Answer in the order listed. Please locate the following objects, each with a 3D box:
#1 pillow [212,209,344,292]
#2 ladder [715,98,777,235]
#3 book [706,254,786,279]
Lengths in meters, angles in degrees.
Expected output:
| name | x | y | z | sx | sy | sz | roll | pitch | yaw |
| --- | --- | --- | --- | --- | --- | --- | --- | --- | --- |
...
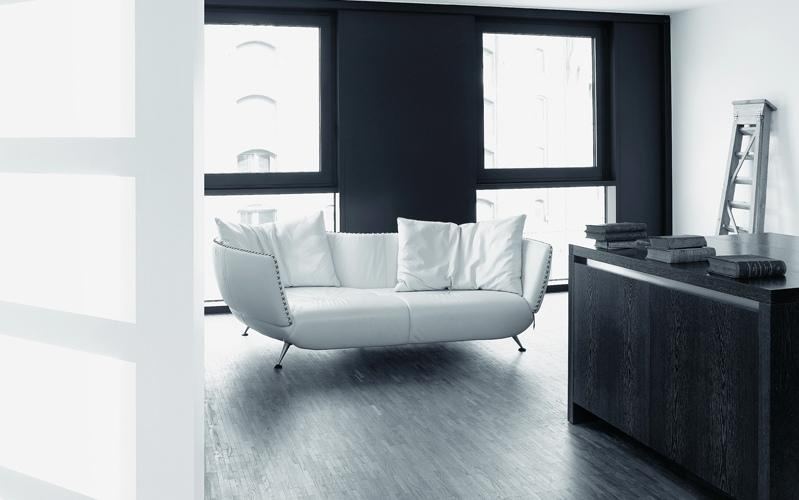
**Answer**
| name | x | y | z | sx | sy | sz | roll | pitch | yaw |
| --- | --- | --- | --- | --- | --- | --- | --- | --- | --- |
| pillow | -0.976 | 0.009 | 4.486 | 0.767 | 0.758 | 0.232 | -9 | -3 | -17 |
| ladder | 3.506 | -0.830 | 5.632 | 0.353 | 1.356 | 0.467 | -7 | 12 | -34 |
| book | 1.465 | 0.066 | 2.332 | 0.279 | 0.074 | 0.152 | -2 | 10 | -9 |
